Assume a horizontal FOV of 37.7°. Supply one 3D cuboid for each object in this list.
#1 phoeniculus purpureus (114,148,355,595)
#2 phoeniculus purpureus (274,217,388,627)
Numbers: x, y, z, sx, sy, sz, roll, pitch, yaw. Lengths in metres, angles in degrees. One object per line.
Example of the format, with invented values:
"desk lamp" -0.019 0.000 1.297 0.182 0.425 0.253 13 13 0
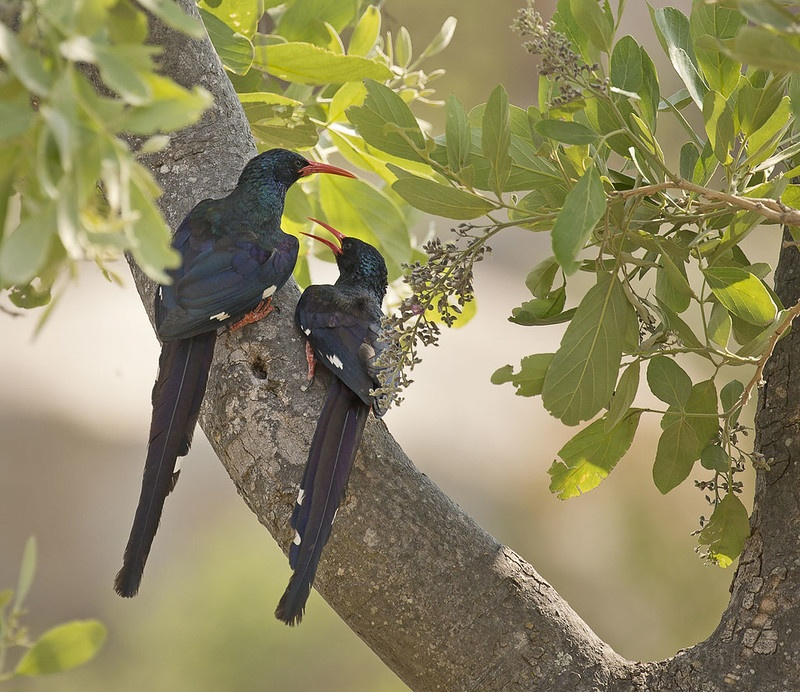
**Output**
"phoeniculus purpureus" -0.406 -0.013 2.671 0.336 1.084 0.291 17 -17 18
"phoeniculus purpureus" -0.102 0.142 2.620 0.220 0.866 0.251 22 -31 -21
